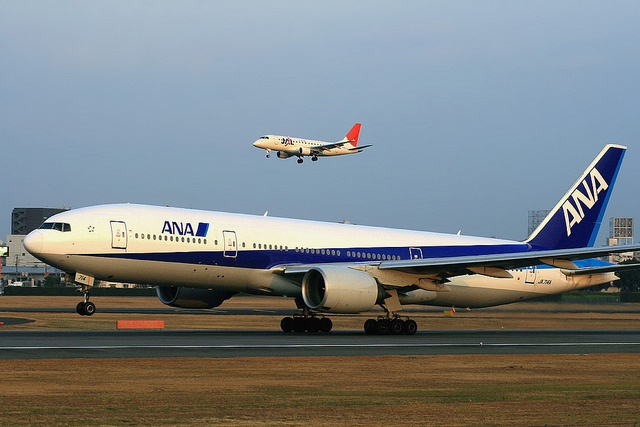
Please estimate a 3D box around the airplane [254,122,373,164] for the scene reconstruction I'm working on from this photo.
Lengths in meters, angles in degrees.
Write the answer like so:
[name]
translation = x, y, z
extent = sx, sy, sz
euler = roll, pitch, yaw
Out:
[airplane]
translation = -0.602, -5.307, 84.105
extent = 8.654, 2.371, 7.367
euler = 2, 0, -30
